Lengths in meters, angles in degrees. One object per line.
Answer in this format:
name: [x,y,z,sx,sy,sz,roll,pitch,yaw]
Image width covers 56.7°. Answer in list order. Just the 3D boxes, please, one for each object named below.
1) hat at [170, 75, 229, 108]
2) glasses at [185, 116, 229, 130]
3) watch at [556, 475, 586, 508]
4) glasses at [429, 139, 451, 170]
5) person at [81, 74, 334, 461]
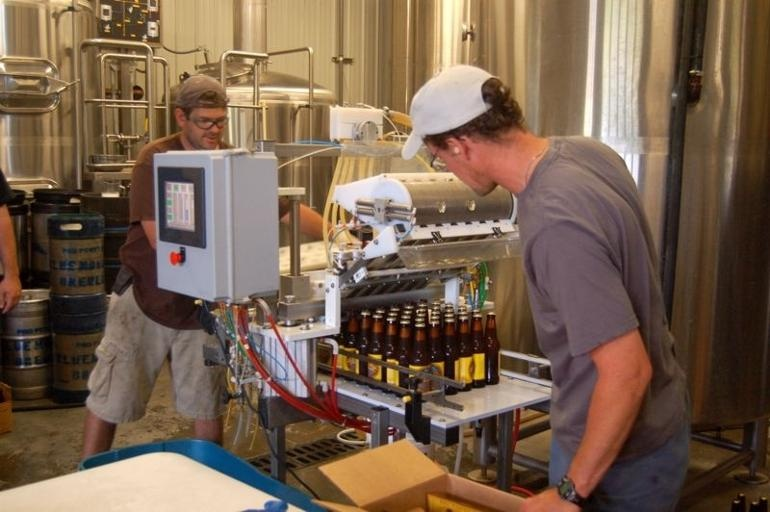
hat: [-0.806,-0.718,3.142,0.214,0.135,0.218,13,18,35]
glasses: [-0.765,-0.583,3.143,0.173,0.053,0.068,-9,13,-37]
watch: [0.504,0.647,1.954,0.066,0.045,0.070,35,-6,1]
glasses: [0.187,-0.352,2.520,0.036,0.115,0.111,0,9,-12]
person: [-0.915,0.074,3.173,0.928,1.725,0.457,-4,10,-17]
